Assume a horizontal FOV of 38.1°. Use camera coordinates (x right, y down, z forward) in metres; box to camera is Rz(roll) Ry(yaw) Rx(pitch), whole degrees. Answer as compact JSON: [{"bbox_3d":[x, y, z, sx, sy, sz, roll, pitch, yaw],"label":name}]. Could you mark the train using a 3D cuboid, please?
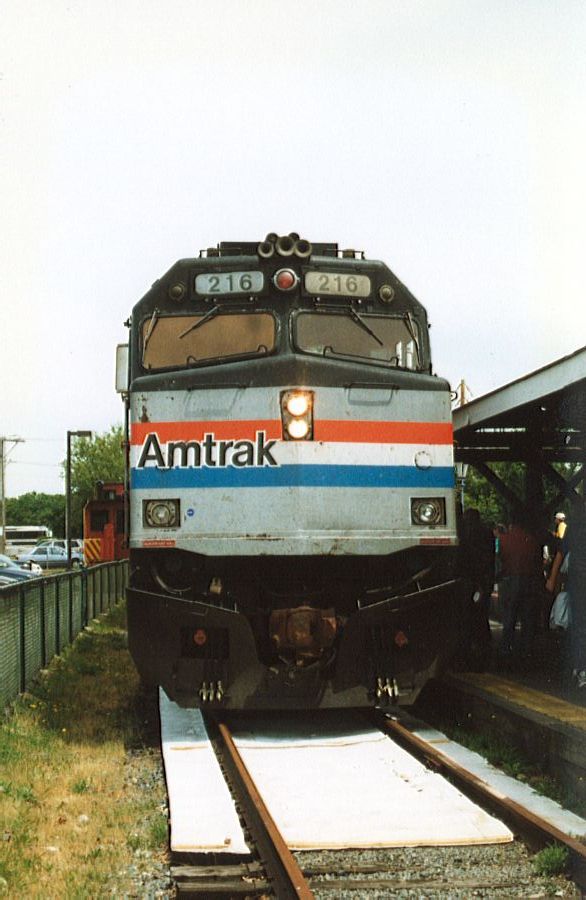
[{"bbox_3d":[-0.124,0.480,8.692,1.712,2.684,5.097,-1,-1,-3],"label":"train"}]
